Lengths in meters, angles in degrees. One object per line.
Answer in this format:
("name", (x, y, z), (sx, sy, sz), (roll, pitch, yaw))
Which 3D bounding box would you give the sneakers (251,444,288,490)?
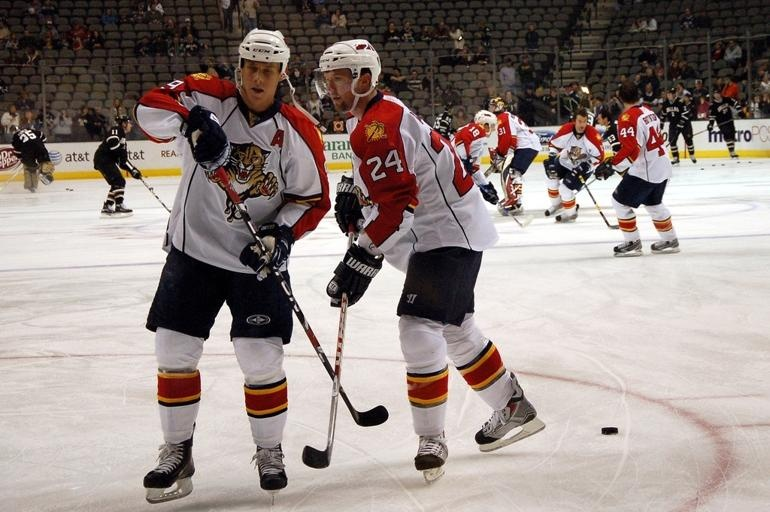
("sneakers", (-0.485, 0.896, 3.051), (0.103, 0.087, 0.233), (-3, 2, -12))

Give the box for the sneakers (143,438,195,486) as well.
("sneakers", (-0.910, 0.864, 3.064), (0.101, 0.175, 0.284), (1, 0, 22))

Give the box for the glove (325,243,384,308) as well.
("glove", (-0.151, 0.080, 3.267), (0.201, 0.305, 0.125), (26, 16, -21))

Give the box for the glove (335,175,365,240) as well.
("glove", (-0.200, -0.253, 3.485), (0.126, 0.237, 0.194), (0, -10, -8))

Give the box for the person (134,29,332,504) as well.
("person", (-0.674, 0.014, 3.132), (0.975, 1.919, 0.794), (-9, 17, -24))

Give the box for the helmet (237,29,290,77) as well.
("helmet", (-0.537, -0.892, 3.180), (0.211, 0.197, 0.233), (-2, 14, 0))

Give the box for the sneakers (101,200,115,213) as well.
("sneakers", (-4.196, -0.747, 10.926), (0.188, 0.205, 0.295), (-7, 15, -20))

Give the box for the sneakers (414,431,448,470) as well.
("sneakers", (0.202, 0.869, 3.179), (0.126, 0.168, 0.214), (-1, 14, 6))

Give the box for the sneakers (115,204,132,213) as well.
("sneakers", (-4.017, -0.723, 11.087), (0.230, 0.167, 0.205), (-6, 15, -16))

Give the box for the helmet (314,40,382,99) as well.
("helmet", (-0.152, -0.848, 3.285), (0.295, 0.227, 0.219), (3, 18, 9))

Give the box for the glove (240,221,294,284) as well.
("glove", (-0.491, -0.025, 3.085), (0.108, 0.226, 0.231), (13, -32, -14))

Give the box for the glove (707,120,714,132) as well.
("glove", (7.690, -3.058, 17.109), (0.136, 0.259, 0.851), (4, 15, 22))
